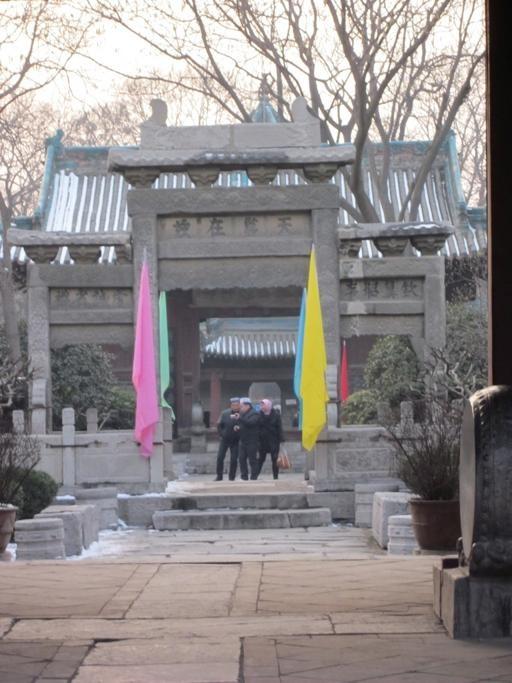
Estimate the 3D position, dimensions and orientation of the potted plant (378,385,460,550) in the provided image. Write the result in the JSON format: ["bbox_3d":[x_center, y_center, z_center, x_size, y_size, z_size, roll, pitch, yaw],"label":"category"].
[{"bbox_3d":[1.508,1.217,14.302,0.908,1.967,1.336,1,-4,1],"label":"potted plant"}]

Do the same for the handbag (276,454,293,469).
[{"bbox_3d":[0.337,1.583,21.000,0.153,0.158,0.418,-2,4,-1],"label":"handbag"}]

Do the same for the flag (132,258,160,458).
[{"bbox_3d":[-1.240,0.162,17.682,0.284,2.202,0.827,-2,3,-4],"label":"flag"}]

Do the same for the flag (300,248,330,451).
[{"bbox_3d":[0.617,0.098,17.536,0.307,2.187,0.920,-1,3,2],"label":"flag"}]
